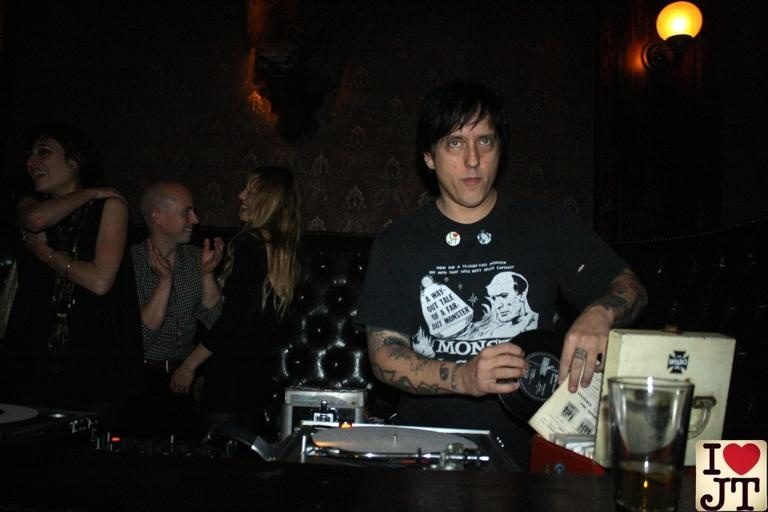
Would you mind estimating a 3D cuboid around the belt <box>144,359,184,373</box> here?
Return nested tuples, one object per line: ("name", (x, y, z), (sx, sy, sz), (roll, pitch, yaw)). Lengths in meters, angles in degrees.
("belt", (-1.400, 0.696, 4.081), (0.162, 0.056, 0.159), (2, -5, -6))

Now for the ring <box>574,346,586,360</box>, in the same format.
("ring", (0.711, 0.352, 2.329), (0.042, 0.038, 0.061), (2, -5, 15))

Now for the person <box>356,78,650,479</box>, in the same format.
("person", (0.491, 0.337, 2.843), (1.301, 2.033, 1.101), (-1, 8, 15))

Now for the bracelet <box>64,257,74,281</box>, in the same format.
("bracelet", (-1.635, 0.067, 3.343), (0.042, 0.102, 0.025), (2, -4, 25))
